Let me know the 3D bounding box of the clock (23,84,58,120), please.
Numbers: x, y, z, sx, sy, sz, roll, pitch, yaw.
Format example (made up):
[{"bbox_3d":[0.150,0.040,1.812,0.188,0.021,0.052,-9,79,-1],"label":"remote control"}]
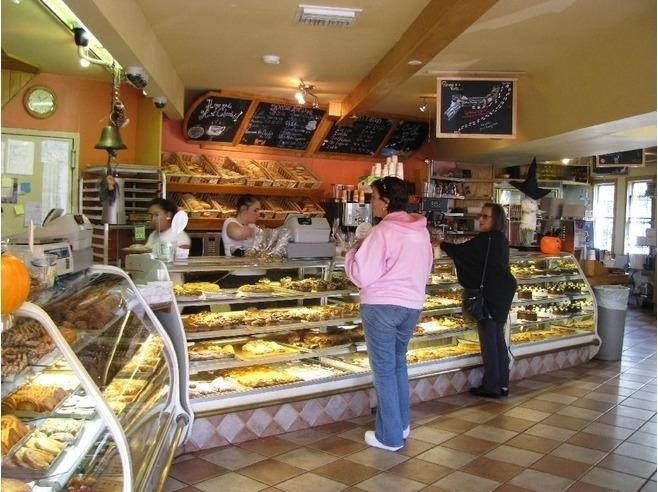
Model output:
[{"bbox_3d":[-4.081,-2.020,6.402,0.514,0.373,0.120,3,6,-42],"label":"clock"}]

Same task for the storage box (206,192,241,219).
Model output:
[{"bbox_3d":[-1.678,-0.634,7.211,0.539,0.112,0.486,2,29,-36],"label":"storage box"}]

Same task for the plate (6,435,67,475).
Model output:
[{"bbox_3d":[-0.994,0.709,1.549,0.090,0.101,0.174,3,2,5],"label":"plate"}]

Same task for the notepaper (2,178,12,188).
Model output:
[{"bbox_3d":[-4.494,-0.876,6.332,0.174,0.123,0.158,-3,7,-29],"label":"notepaper"}]

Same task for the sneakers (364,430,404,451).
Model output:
[{"bbox_3d":[0.432,1.603,3.786,0.312,0.099,0.114,13,19,38],"label":"sneakers"}]

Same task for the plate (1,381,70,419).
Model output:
[{"bbox_3d":[-1.049,0.552,1.620,0.204,0.041,0.167,4,9,-3],"label":"plate"}]

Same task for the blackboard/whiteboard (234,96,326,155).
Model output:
[{"bbox_3d":[-0.870,-2.020,7.509,1.618,0.793,0.050,3,46,-34],"label":"blackboard/whiteboard"}]

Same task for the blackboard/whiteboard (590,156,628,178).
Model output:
[{"bbox_3d":[6.750,-1.927,10.983,1.073,0.495,0.469,0,-1,11],"label":"blackboard/whiteboard"}]

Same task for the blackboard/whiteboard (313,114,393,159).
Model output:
[{"bbox_3d":[0.365,-1.991,8.145,1.827,0.063,0.991,-3,-30,-25],"label":"blackboard/whiteboard"}]

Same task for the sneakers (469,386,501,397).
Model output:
[{"bbox_3d":[1.696,1.606,5.034,0.328,0.099,0.106,6,3,31],"label":"sneakers"}]

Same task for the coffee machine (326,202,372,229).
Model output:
[{"bbox_3d":[0.333,-0.520,7.876,0.644,0.304,0.590,-1,3,-34],"label":"coffee machine"}]

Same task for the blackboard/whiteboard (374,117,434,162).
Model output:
[{"bbox_3d":[1.442,-2.030,8.667,0.990,0.686,0.203,3,40,-22],"label":"blackboard/whiteboard"}]

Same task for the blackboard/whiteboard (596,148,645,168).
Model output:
[{"bbox_3d":[5.888,-1.780,9.174,0.833,0.419,0.108,4,-2,28],"label":"blackboard/whiteboard"}]

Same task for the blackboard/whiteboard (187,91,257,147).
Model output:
[{"bbox_3d":[-1.731,-2.017,7.110,1.162,0.768,0.102,10,33,-32],"label":"blackboard/whiteboard"}]

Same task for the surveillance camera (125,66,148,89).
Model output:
[{"bbox_3d":[-1.941,-1.697,4.565,0.199,0.055,0.239,15,2,-24],"label":"surveillance camera"}]

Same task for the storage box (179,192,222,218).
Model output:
[{"bbox_3d":[-1.988,-0.629,6.853,0.485,0.163,0.546,-9,32,-40],"label":"storage box"}]

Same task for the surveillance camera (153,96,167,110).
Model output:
[{"bbox_3d":[-2.148,-1.792,5.692,0.201,0.110,0.170,0,-7,-3],"label":"surveillance camera"}]

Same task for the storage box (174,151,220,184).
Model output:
[{"bbox_3d":[-2.028,-1.192,6.964,0.561,0.199,0.673,-7,39,-42],"label":"storage box"}]

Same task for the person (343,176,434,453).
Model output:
[{"bbox_3d":[0.479,0.541,3.728,0.718,2.224,0.376,2,2,-26],"label":"person"}]

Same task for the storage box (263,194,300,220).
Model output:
[{"bbox_3d":[-0.795,-0.616,7.277,0.628,0.121,0.477,-2,29,-12],"label":"storage box"}]

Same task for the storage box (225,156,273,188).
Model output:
[{"bbox_3d":[-1.294,-1.160,7.363,0.729,0.163,0.617,-3,42,-37],"label":"storage box"}]

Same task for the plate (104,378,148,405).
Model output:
[{"bbox_3d":[-0.926,0.648,2.049,0.174,0.024,0.142,3,5,1],"label":"plate"}]
